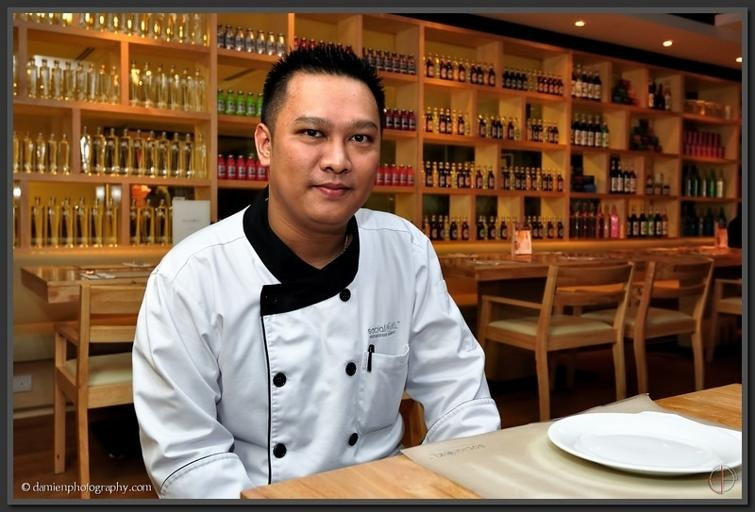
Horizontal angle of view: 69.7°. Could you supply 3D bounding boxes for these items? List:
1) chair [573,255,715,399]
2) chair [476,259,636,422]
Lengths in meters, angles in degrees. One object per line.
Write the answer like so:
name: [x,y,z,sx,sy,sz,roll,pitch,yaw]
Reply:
chair: [1.753,0.441,3.621,0.685,0.915,0.730,-3,5,-15]
chair: [1.068,0.466,3.259,0.733,0.782,0.677,1,0,-20]
